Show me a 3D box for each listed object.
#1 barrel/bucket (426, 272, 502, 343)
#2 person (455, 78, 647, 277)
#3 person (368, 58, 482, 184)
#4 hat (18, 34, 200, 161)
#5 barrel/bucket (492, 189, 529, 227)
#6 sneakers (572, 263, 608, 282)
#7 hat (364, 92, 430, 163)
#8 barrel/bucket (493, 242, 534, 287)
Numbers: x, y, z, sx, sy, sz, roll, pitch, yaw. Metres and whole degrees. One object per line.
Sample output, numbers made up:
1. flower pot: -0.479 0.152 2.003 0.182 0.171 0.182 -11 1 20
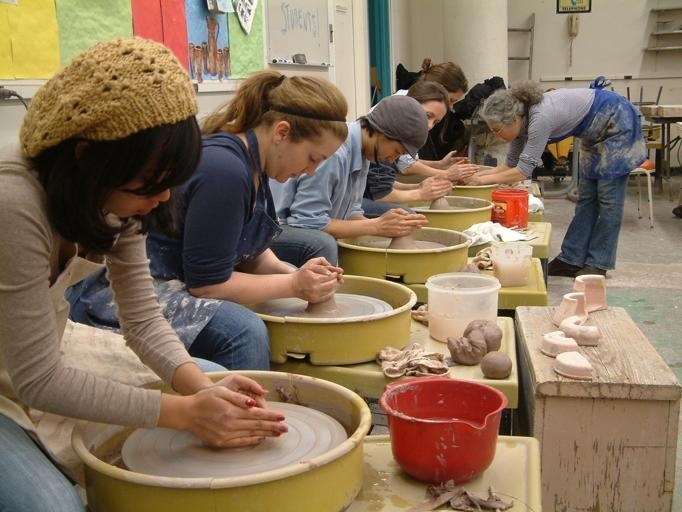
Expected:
1. barrel/bucket: 0.443 0.191 1.998 0.253 0.221 0.271 1 8 0
2. person: 1.780 -0.571 4.333 1.171 1.593 0.462 -1 15 6
3. person: 0.891 -1.064 4.908 0.642 1.509 0.897 -31 37 -32
4. hat: -0.480 -0.330 1.153 0.351 0.219 0.322 -2 25 6
5. barrel/bucket: 1.063 -0.298 3.379 0.212 0.226 0.200 -2 15 1
6. sneakers: 1.685 0.093 3.646 0.229 0.102 0.124 4 5 -2
7. hat: 0.281 -0.677 2.782 0.309 0.205 0.235 31 40 18
8. barrel/bucket: 0.776 0.041 2.438 0.176 0.236 0.185 0 -2 0
